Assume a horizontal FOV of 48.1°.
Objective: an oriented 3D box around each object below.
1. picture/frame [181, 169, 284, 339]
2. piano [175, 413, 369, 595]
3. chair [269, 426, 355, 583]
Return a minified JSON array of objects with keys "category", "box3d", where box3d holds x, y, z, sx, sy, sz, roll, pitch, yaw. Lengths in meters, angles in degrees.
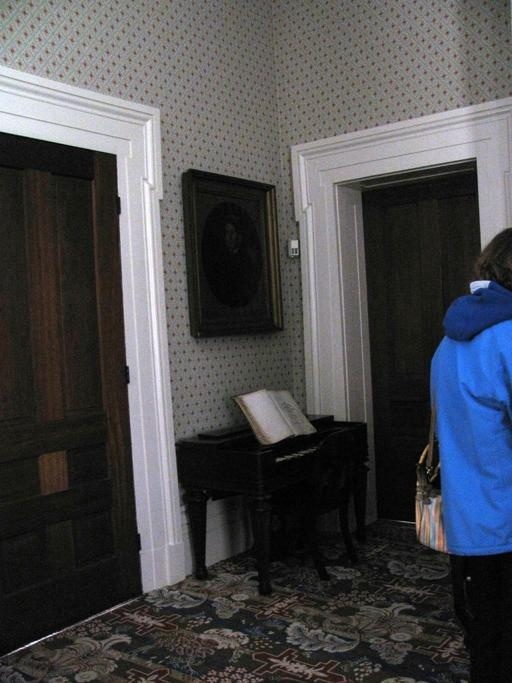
[{"category":"picture/frame","box3d":[-0.171,-0.521,3.519,0.116,1.266,1.012,-7,-6,34]},{"category":"piano","box3d":[0.220,0.886,3.353,0.587,0.851,1.131,-1,0,40]},{"category":"chair","box3d":[0.277,0.867,3.138,0.475,0.776,0.457,-5,-7,39]}]
